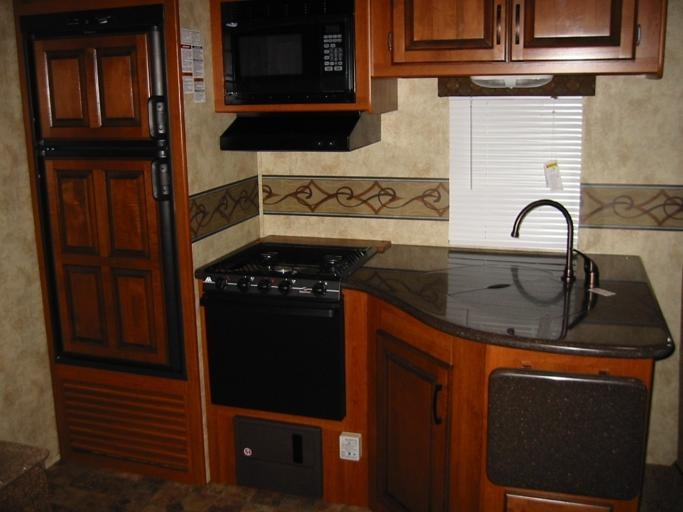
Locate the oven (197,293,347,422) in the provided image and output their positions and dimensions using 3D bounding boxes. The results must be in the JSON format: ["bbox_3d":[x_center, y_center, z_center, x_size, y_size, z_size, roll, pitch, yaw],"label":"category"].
[{"bbox_3d":[-0.334,0.450,3.175,0.675,0.634,0.463,1,10,1],"label":"oven"}]

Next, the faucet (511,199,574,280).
[{"bbox_3d":[1.010,-0.110,2.953,0.282,0.397,0.576,4,15,21],"label":"faucet"}]
